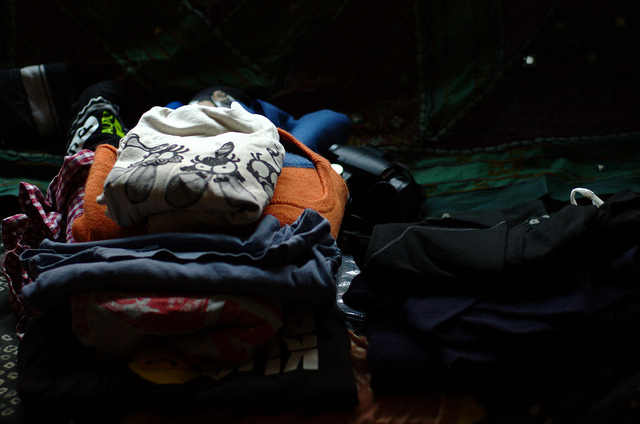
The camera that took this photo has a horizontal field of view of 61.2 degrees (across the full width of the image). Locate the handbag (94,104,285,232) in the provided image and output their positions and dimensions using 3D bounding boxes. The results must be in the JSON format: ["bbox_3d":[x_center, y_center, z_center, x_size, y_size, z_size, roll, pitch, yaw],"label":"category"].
[{"bbox_3d":[-0.294,-0.091,1.266,0.381,0.291,0.242,12,22,1],"label":"handbag"}]
